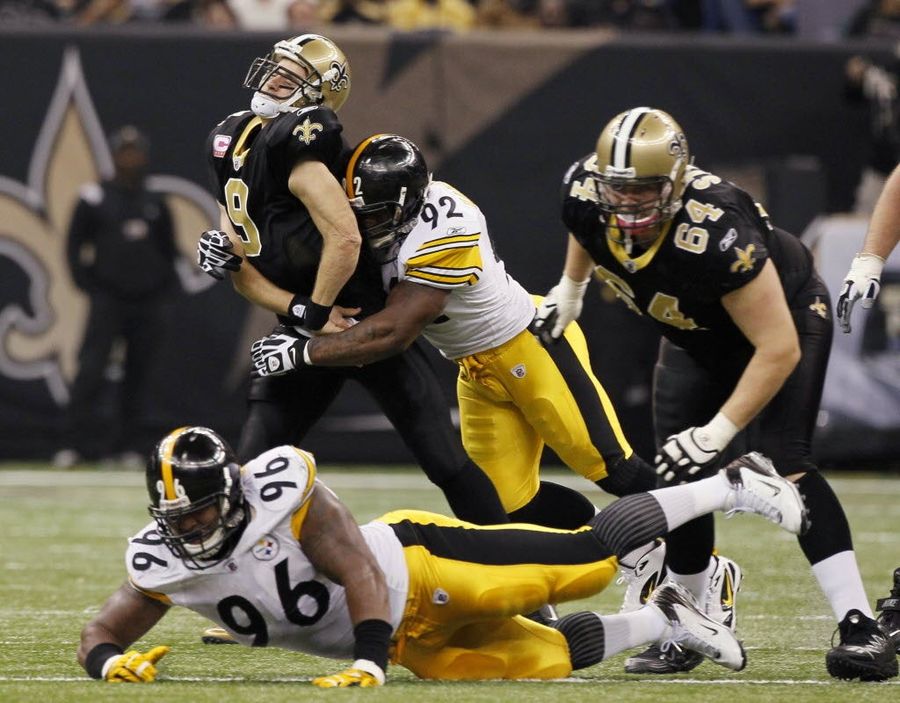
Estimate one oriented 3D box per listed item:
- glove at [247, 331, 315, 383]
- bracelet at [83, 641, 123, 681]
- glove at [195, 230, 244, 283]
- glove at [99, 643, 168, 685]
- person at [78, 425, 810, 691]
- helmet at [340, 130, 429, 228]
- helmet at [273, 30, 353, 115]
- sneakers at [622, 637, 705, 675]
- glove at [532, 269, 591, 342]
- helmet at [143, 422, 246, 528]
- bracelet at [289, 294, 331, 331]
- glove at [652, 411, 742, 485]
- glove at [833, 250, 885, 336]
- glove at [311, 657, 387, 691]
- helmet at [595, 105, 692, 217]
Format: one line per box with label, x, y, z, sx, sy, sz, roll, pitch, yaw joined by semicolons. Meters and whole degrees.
glove;-0.550;0.026;4.196;0.211;0.165;0.133;2;29;-1
bracelet;-0.963;0.858;3.559;0.105;0.101;0.073;0;53;8
glove;-0.786;-0.315;4.333;0.131;0.183;0.190;-12;32;-24
glove;-0.883;0.885;3.580;0.161;0.064;0.089;-20;75;-24
person;-0.075;0.643;3.769;1.868;0.864;0.744;3;53;-19
helmet;-0.211;-0.560;4.267;0.359;0.321;0.263;-18;25;-39
helmet;-0.447;-0.974;4.503;0.244;0.281;0.262;-26;32;-23
sneakers;0.667;0.959;4.007;0.281;0.127;0.099;2;3;-7
glove;0.390;-0.161;4.514;0.268;0.148;0.077;-48;6;-21
helmet;-0.745;0.360;3.679;0.277;0.295;0.363;-5;3;9
bracelet;-0.464;-0.124;4.157;0.125;0.090;0.106;25;5;-7
glove;0.749;0.307;3.931;0.273;0.126;0.166;-40;56;7
glove;1.318;-0.193;4.212;0.101;0.180;0.269;-1;57;54
glove;-0.266;0.889;3.485;0.112;0.041;0.106;-7;5;-36
helmet;0.592;-0.593;3.993;0.295;0.315;0.393;4;28;17
